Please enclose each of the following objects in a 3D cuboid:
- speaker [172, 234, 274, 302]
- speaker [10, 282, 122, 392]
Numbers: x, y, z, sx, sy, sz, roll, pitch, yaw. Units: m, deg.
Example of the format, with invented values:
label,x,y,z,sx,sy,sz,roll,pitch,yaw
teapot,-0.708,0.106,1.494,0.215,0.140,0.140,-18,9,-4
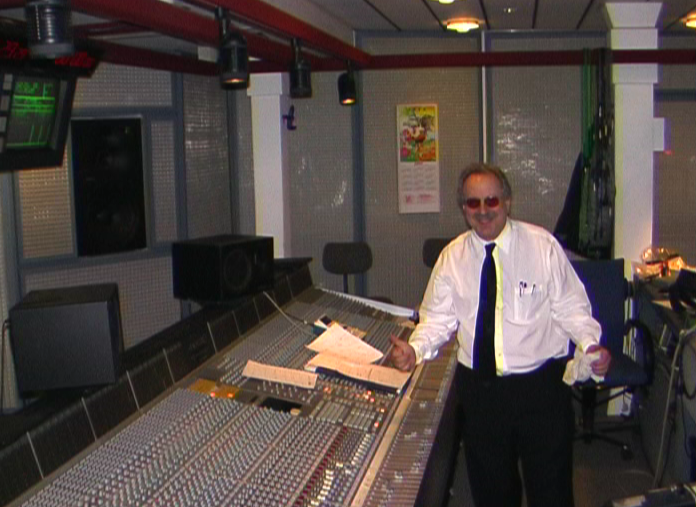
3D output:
label,x,y,z,sx,sy,sz,roll,pitch,yaw
speaker,-0.706,0.076,3.336,0.325,0.367,0.529,0,5,19
speaker,-1.128,0.346,2.395,0.402,0.356,0.367,-2,8,-11
